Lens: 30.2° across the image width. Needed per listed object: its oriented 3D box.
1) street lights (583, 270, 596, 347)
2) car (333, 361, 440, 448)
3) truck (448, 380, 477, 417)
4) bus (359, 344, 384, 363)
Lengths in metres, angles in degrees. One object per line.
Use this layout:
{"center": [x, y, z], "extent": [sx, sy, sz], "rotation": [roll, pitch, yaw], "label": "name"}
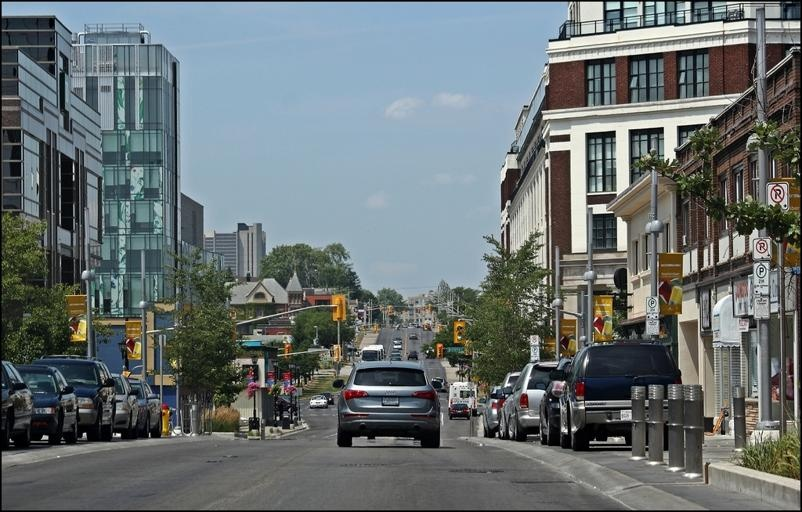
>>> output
{"center": [10.404, 2.448, 80.387], "extent": [0.727, 4.154, 0.751], "rotation": [1, -3, 2], "label": "street lights"}
{"center": [-0.569, 5.084, 55.701], "extent": [3.760, 2.835, 8.600], "rotation": [1, 1, -7], "label": "car"}
{"center": [5.497, 11.687, 119.274], "extent": [2.303, 2.658, 4.311], "rotation": [1, 0, 2], "label": "truck"}
{"center": [-2.765, 9.774, 149.844], "extent": [2.036, 1.946, 6.540], "rotation": [-1, 0, 3], "label": "bus"}
